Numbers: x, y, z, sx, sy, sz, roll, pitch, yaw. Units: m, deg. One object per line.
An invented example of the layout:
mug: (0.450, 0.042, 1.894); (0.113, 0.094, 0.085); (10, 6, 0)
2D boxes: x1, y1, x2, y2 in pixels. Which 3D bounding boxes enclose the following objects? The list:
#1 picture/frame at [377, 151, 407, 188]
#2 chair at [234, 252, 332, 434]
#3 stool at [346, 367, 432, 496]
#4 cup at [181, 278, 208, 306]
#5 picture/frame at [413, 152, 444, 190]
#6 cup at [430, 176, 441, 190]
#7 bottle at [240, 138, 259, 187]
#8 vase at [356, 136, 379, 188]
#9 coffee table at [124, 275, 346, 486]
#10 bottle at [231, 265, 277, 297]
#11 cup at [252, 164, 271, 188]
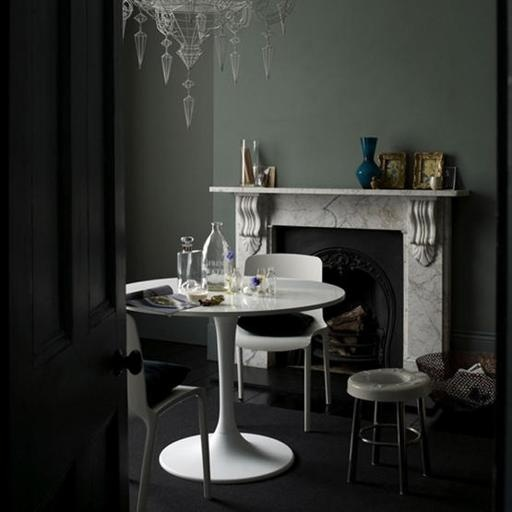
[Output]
picture/frame: (0.983, -0.604, 3.701); (0.182, 0.312, 0.040); (2, -22, 16)
chair: (0.188, 0.479, 3.159); (0.609, 1.002, 0.630); (2, 5, -32)
stool: (0.677, 0.738, 2.473); (0.424, 0.668, 0.485); (-1, -3, 22)
cup: (-0.299, 0.173, 2.516); (0.090, 0.150, 0.137); (0, -4, -1)
picture/frame: (1.210, -0.594, 3.606); (0.191, 0.293, 0.030); (3, 31, 17)
cup: (1.220, -0.489, 3.491); (0.068, 0.087, 0.076); (-3, 5, -13)
bottle: (-0.047, -0.736, 4.119); (0.138, 0.361, 0.089); (0, 5, 0)
vase: (0.805, -0.660, 3.693); (0.161, 0.362, 0.100); (1, 5, 11)
coffee table: (-0.150, 0.635, 2.634); (0.953, 0.869, 0.941); (-6, 3, -44)
bottle: (0.006, 0.153, 2.763); (0.154, 0.128, 0.168); (0, 2, 0)
cup: (0.041, -0.619, 4.128); (0.134, 0.191, 0.158); (0, -4, -5)
